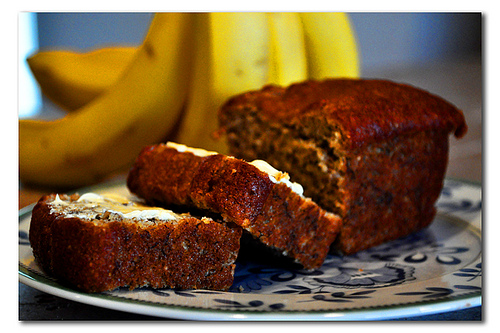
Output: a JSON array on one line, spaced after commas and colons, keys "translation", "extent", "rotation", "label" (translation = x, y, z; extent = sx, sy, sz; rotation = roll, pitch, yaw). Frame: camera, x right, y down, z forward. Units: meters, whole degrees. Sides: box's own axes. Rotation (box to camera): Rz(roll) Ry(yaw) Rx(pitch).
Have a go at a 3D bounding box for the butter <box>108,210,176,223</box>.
[{"translation": [-0.642, 0.265, 3.051], "extent": [0.316, 0.076, 0.280], "rotation": [-2, 4, -12], "label": "butter"}]
